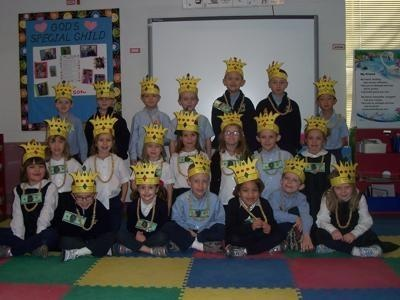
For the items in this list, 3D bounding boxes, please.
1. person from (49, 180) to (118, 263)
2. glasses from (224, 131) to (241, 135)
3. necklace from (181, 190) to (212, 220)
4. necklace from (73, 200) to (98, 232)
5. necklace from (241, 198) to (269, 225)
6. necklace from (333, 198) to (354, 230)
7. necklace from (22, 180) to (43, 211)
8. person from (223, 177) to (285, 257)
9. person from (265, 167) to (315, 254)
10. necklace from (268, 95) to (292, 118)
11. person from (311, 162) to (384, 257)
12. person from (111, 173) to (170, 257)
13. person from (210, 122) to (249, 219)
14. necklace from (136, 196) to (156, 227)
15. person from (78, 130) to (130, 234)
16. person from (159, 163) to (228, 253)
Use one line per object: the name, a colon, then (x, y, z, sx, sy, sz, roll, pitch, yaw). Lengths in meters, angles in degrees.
person: (-1.167, 0.679, 4.394, 0.660, 0.909, 0.715, -2, 6, -24)
glasses: (0.343, -0.175, 4.729, 0.149, 0.054, 0.038, -2, 11, 3)
necklace: (-0.002, 0.519, 4.427, 0.360, 0.333, 0.193, 1, 45, 1)
necklace: (-1.138, 0.656, 4.295, 0.166, 0.275, 0.066, -1, -22, -14)
necklace: (0.544, 0.627, 4.351, 0.147, 0.286, 0.050, -29, -16, -7)
necklace: (1.405, 0.630, 4.270, 0.169, 0.283, 0.059, 1, -9, 14)
necklace: (-1.656, 0.464, 4.295, 0.270, 0.385, 0.064, -3, -6, 1)
person: (0.528, 0.609, 4.283, 0.568, 0.742, 0.581, -4, 7, 1)
person: (0.933, 0.594, 4.430, 0.396, 0.770, 0.812, -2, 15, -10)
necklace: (0.984, -0.550, 5.384, 0.290, 0.243, 0.186, -1, 11, 7)
person: (1.374, 0.570, 4.206, 0.611, 0.834, 0.801, -5, 7, -9)
person: (-0.579, 0.639, 4.266, 0.531, 0.728, 0.654, 3, 10, -7)
person: (0.342, 0.234, 4.894, 0.479, 1.149, 0.317, -4, 19, -6)
necklace: (-0.539, 0.650, 4.336, 0.198, 0.297, 0.132, -2, 11, 2)
person: (-1.062, 0.441, 4.887, 0.546, 1.364, 0.429, 6, 22, 11)
person: (-0.039, 0.538, 4.567, 0.835, 1.175, 0.752, 1, 7, -6)
